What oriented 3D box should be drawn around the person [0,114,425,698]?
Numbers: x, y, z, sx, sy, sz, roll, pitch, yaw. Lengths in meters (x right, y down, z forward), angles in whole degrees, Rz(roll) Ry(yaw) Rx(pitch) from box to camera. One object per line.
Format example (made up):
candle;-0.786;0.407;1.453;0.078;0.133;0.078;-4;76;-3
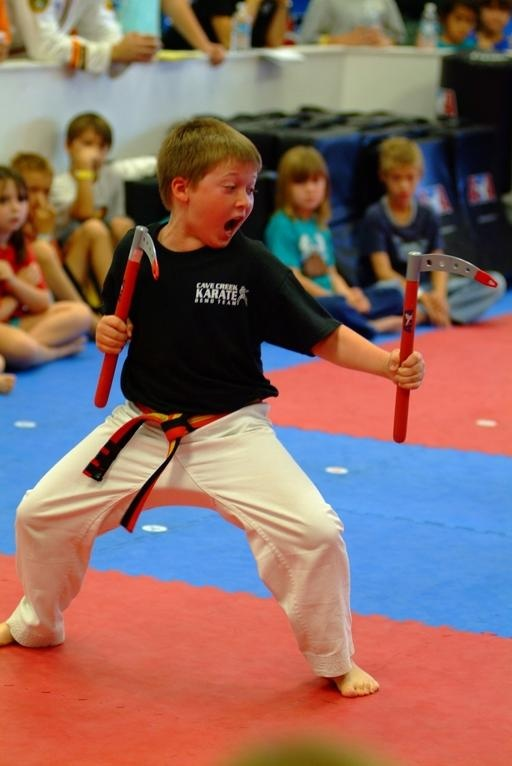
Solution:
person;-0.089;0.013;1.335;0.742;0.979;0.348;3;13;11
